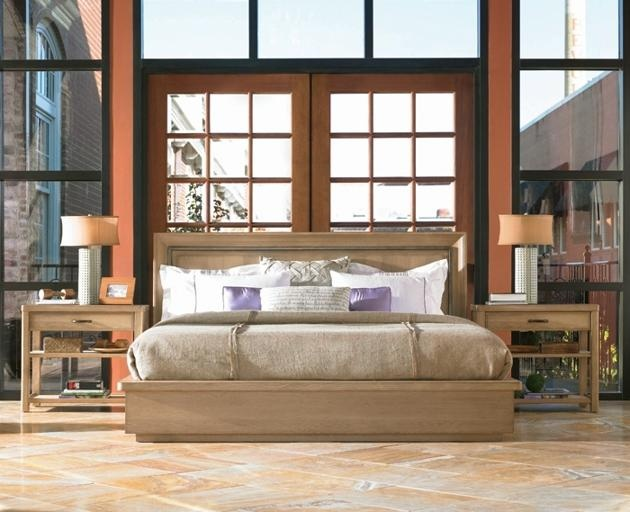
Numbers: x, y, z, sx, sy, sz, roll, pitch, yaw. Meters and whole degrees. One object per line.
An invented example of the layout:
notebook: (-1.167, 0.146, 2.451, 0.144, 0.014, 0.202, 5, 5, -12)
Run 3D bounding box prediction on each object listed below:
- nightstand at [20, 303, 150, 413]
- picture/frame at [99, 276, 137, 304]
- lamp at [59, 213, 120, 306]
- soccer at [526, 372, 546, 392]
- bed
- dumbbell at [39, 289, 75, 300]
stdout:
nightstand: (-1.639, 0.726, 7.010, 0.861, 0.719, 0.343, 0, -3, -4)
picture/frame: (-1.425, 0.268, 7.270, 0.331, 0.292, 0.177, 0, -10, -3)
lamp: (-1.657, 0.016, 7.251, 0.403, 0.635, 0.460, -7, 11, -34)
soccer: (1.617, 0.930, 7.187, 0.136, 0.124, 0.067, -12, -12, 6)
bed: (0.030, 0.496, 6.799, 2.493, 1.155, 1.559, -1, 9, -1)
dumbbell: (-1.927, 0.286, 7.229, 0.215, 0.082, 0.089, 1, 4, -33)
